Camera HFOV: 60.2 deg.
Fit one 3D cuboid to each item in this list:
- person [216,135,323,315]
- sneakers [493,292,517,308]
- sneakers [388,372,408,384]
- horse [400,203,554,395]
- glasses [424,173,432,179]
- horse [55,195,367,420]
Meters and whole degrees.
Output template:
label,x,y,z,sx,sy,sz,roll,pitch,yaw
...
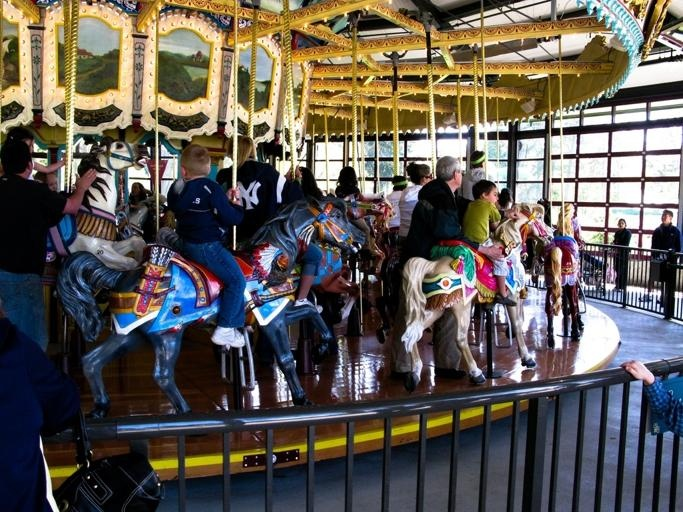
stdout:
label,x,y,z,sx,sy,sz,roll,pitch,yaw
person,-0.630,-0.293,5.344,0.847,1.607,0.673,-4,-7,8
sneakers,1.657,0.446,6.047,0.329,0.157,0.103,-2,12,-23
sneakers,0.557,1.175,5.700,0.128,0.076,0.174,3,-6,-5
horse,1.367,0.393,5.921,2.306,1.639,0.688,-8,10,-44
glasses,1.002,-0.906,6.767,0.018,0.067,0.062,15,12,35
horse,-0.937,0.426,4.448,2.149,1.634,0.473,-6,8,-32
